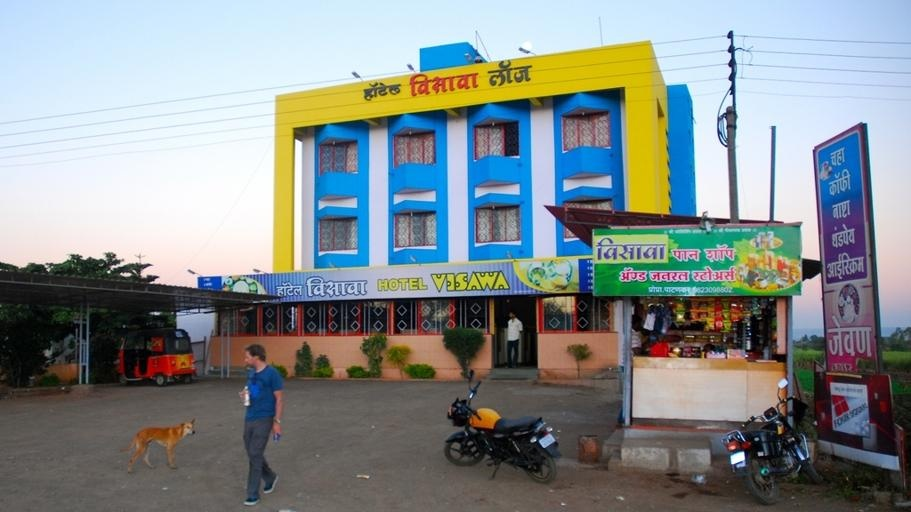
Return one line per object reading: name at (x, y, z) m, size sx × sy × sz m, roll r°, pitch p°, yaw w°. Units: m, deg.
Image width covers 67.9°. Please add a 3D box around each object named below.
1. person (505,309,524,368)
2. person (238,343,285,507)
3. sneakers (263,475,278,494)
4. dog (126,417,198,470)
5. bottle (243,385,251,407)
person at (2.641, 3.780, 31.072) m, size 0.592 × 2.537 × 1.424 m, roll 0°, pitch 2°, yaw 3°
person at (-4.436, 3.710, 15.385) m, size 0.853 × 3.400 × 1.339 m, roll 0°, pitch 2°, yaw -15°
sneakers at (-4.232, 5.184, 15.449) m, size 0.188 × 0.489 × 0.195 m, roll 2°, pitch -46°, yaw 14°
dog at (-7.650, 4.679, 17.308) m, size 1.467 × 1.031 × 1.821 m, roll 0°, pitch 1°, yaw -26°
bottle at (-4.704, 3.110, 15.130) m, size 0.152 × 0.446 × 0.161 m, roll 0°, pitch 2°, yaw 0°
